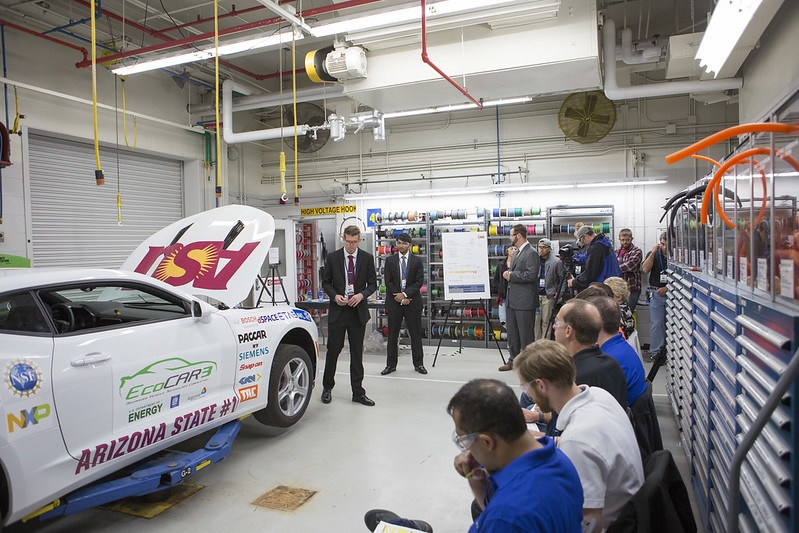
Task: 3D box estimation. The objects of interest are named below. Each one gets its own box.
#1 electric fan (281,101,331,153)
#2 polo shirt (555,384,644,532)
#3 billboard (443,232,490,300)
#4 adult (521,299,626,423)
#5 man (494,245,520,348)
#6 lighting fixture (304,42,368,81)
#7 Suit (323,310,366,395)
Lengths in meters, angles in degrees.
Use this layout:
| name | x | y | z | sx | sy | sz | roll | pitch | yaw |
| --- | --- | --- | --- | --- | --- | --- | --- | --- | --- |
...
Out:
| name | x | y | z | sx | sy | sz | roll | pitch | yaw |
| --- | --- | --- | --- | --- | --- | --- | --- | --- | --- |
| electric fan | -1.866 | -2.903 | 11.358 | 1.141 | 1.202 | 0.420 | 14 | 14 | 30 |
| polo shirt | 1.206 | 1.201 | 3.168 | 0.421 | 0.667 | 0.817 | -16 | -7 | 28 |
| billboard | 1.197 | 0.019 | 9.428 | 0.822 | 1.239 | 0.384 | -1 | 8 | 2 |
| adult | 1.409 | 0.828 | 4.171 | 0.729 | 1.235 | 0.816 | -6 | 22 | 9 |
| man | 1.849 | 0.365 | 8.886 | 0.421 | 1.335 | 0.398 | 6 | 18 | 21 |
| lighting fixture | -0.993 | -3.081 | 7.883 | 0.820 | 0.540 | 0.497 | 1 | 28 | 16 |
| Suit | -0.772 | 1.164 | 6.988 | 0.577 | 1.251 | 0.449 | -2 | 8 | -5 |
